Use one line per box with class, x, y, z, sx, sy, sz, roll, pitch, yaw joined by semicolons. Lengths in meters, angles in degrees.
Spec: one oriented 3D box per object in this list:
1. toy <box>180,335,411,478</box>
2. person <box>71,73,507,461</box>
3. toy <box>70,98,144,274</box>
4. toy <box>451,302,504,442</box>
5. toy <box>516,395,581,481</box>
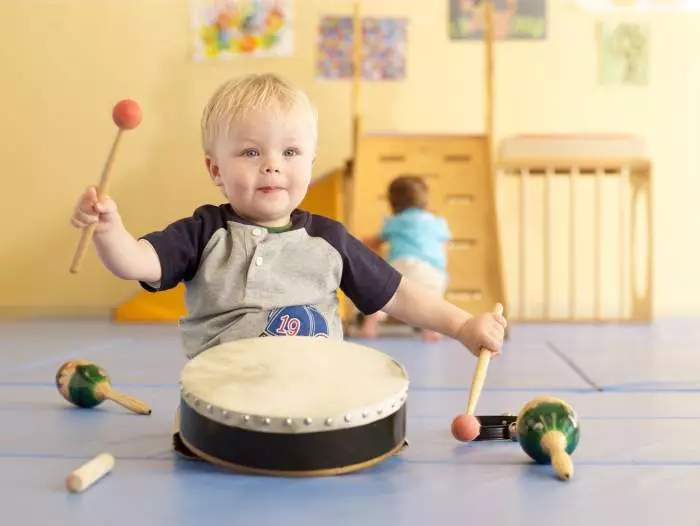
toy;-0.124;0.283;1.676;0.459;0.148;0.460;-7;16;-33
person;-0.127;0.038;1.761;0.895;0.811;0.333;0;9;-8
toy;-0.536;-0.159;1.783;0.160;0.406;0.526;-3;11;-18
toy;0.269;0.191;1.704;0.069;0.067;0.379;19;49;6
toy;0.387;0.343;1.572;0.122;0.125;0.166;5;27;0
